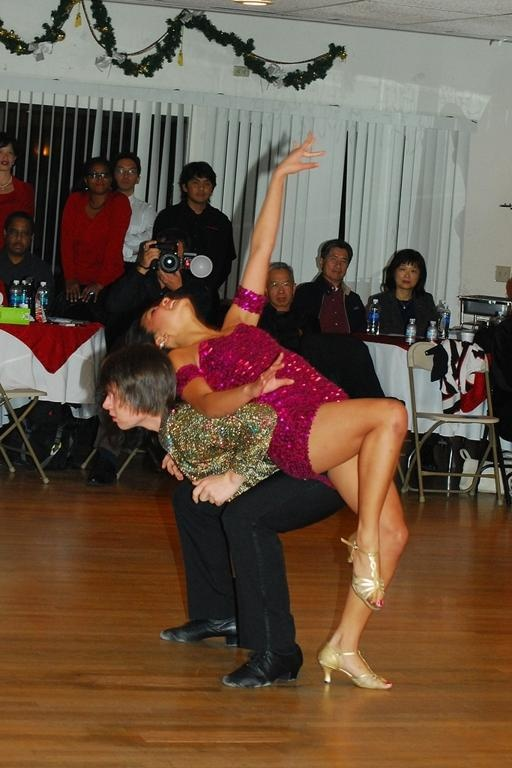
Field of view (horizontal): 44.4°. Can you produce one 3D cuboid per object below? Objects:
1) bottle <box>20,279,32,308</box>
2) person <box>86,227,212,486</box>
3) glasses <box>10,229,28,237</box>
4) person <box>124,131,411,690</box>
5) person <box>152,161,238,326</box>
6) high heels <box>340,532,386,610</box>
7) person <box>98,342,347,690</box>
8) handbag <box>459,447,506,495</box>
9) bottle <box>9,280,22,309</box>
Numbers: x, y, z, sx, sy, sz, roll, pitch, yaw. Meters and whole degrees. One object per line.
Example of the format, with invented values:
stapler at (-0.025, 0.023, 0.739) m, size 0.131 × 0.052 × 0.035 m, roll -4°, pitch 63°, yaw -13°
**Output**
bottle at (-1.572, -0.621, 4.319) m, size 0.071 × 0.204 × 0.367 m, roll 4°, pitch 2°, yaw -21°
person at (-0.481, -0.021, 4.058) m, size 0.636 × 1.761 × 0.533 m, roll 14°, pitch 28°, yaw 28°
glasses at (-1.701, -1.094, 4.523) m, size 0.111 × 0.067 × 0.029 m, roll 4°, pitch 2°, yaw -19°
person at (0.023, 0.068, 1.401) m, size 0.557 × 1.008 × 0.699 m, roll 3°, pitch 3°, yaw -45°
person at (-0.533, -0.964, 5.578) m, size 0.729 × 1.879 × 0.565 m, roll 6°, pitch 19°, yaw 4°
high heels at (0.219, 0.388, 1.296) m, size 0.088 × 0.134 × 0.161 m, roll 5°, pitch 2°, yaw 10°
person at (0.025, 0.347, 1.908) m, size 0.860 × 1.043 × 0.660 m, roll 0°, pitch -3°, yaw -7°
handbag at (1.620, 0.631, 4.491) m, size 0.377 × 0.397 × 0.228 m, roll 3°, pitch 2°, yaw 32°
bottle at (-1.639, -0.615, 4.279) m, size 0.081 × 0.205 × 0.454 m, roll 4°, pitch 2°, yaw -22°
